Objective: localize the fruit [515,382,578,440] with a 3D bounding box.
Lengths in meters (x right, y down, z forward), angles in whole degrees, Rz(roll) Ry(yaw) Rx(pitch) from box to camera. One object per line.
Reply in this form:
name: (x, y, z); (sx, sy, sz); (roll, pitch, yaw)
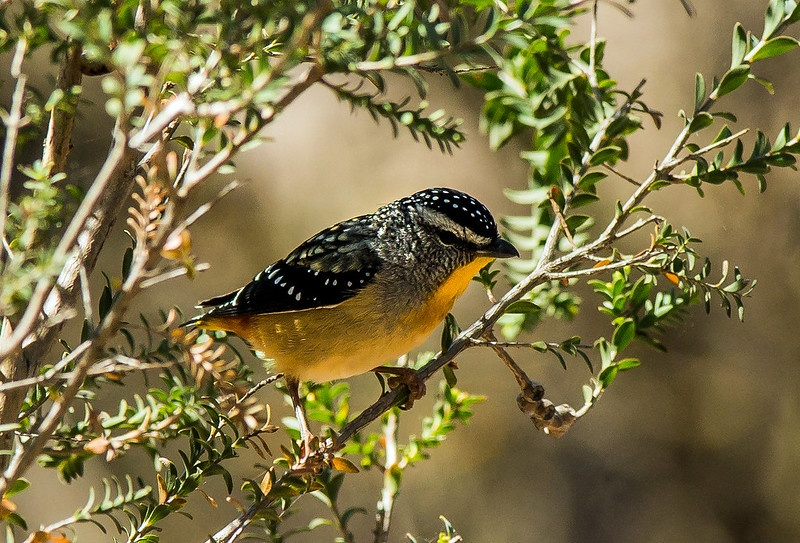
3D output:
fruit: (0.770, 0.741, 4.518); (0.292, 0.285, 0.117); (36, -84, -11)
